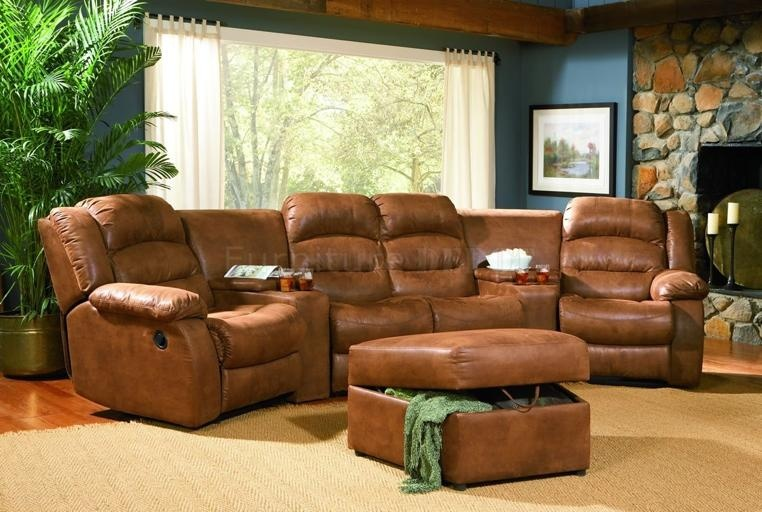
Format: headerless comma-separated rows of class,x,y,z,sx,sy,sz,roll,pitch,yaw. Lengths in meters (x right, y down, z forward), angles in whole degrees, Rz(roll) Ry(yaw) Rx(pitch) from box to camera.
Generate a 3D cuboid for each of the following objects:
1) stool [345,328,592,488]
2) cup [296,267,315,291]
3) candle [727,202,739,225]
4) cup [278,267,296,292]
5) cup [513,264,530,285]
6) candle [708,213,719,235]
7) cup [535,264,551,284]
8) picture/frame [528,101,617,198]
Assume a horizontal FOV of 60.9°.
stool,0.441,0.700,3.255,0.975,0.558,0.896,1,-3,-31
cup,-0.500,0.164,4.294,0.086,0.131,0.209,-2,11,-10
candle,3.115,-0.381,5.734,0.082,0.185,0.288,7,13,30
cup,-0.629,0.144,4.255,0.163,0.180,0.143,0,-1,-10
cup,1.008,0.128,4.686,0.137,0.123,0.124,0,-4,5
candle,2.931,-0.280,5.725,0.079,0.180,0.052,0,13,2
cup,1.153,0.127,4.629,0.136,0.133,0.124,0,-3,0
picture/frame,2.032,-1.120,6.883,0.096,0.995,1.156,-17,19,-35
